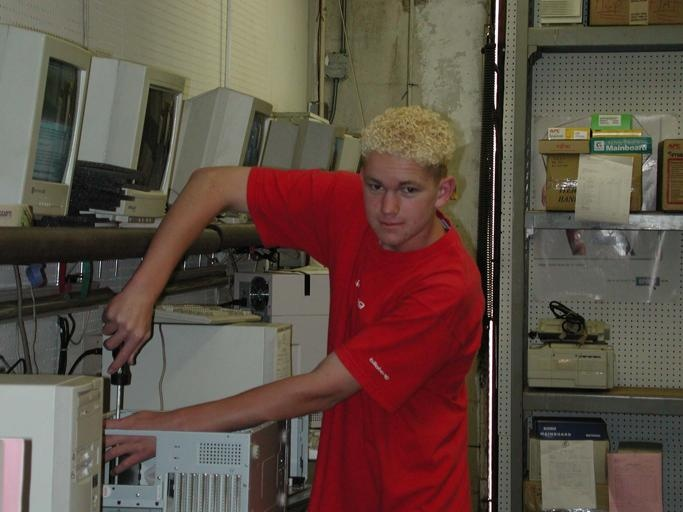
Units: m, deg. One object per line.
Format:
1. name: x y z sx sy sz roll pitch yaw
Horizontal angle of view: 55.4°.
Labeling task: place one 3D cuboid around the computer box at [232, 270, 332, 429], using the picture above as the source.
1. computer box: -0.265 0.385 3.116 0.296 0.720 0.507 2 9 1

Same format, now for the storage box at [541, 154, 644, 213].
1. storage box: 1.079 -0.321 2.814 0.403 0.252 0.112 -1 -4 20

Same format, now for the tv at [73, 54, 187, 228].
1. tv: -0.746 -0.398 2.282 0.275 0.559 0.551 8 -2 11
